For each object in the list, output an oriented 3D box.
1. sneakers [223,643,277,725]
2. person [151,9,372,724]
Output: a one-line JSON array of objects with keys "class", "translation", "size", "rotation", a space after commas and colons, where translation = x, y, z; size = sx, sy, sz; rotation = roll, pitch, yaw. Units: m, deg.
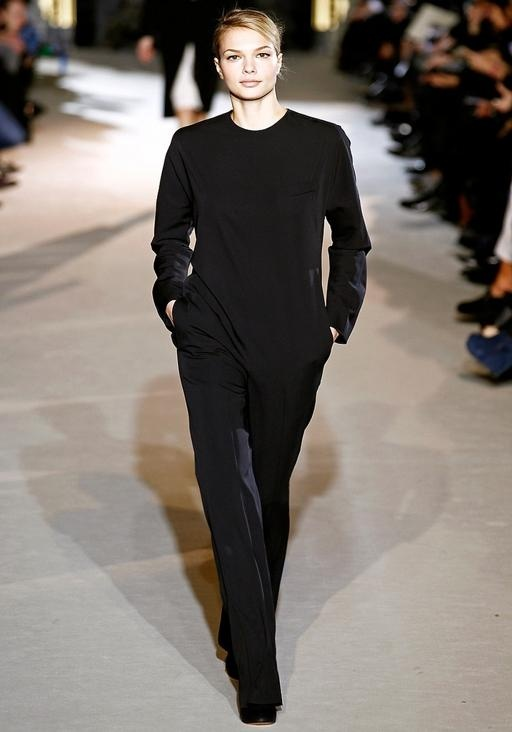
[{"class": "sneakers", "translation": [-0.019, 0.627, 1.546], "size": [0.069, 0.065, 0.162], "rotation": [-1, 47, -2]}, {"class": "person", "translation": [0.017, -0.015, 1.495], "size": [0.440, 1.284, 0.409], "rotation": [1, 14, -7]}]
